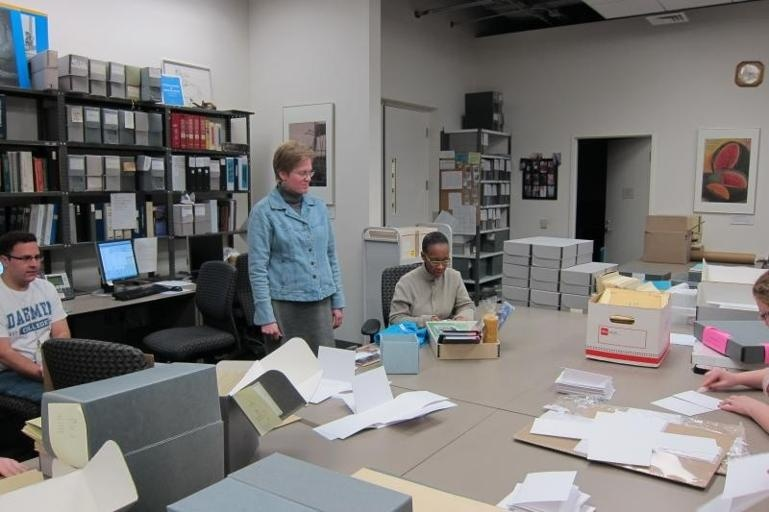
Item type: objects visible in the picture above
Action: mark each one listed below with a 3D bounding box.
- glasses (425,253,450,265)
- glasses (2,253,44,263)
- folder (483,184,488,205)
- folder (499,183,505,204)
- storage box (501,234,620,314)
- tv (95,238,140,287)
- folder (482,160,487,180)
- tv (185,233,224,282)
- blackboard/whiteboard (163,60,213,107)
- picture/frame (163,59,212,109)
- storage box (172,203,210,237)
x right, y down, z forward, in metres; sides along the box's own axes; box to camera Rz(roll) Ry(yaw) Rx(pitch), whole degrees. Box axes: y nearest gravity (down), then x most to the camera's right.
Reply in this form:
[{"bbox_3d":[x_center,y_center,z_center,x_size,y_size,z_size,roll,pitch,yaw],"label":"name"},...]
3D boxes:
[{"bbox_3d":[0.322,0.014,3.270,0.154,0.069,0.141,0,9,6],"label":"glasses"},{"bbox_3d":[-2.267,0.010,3.201,0.201,0.048,0.083,-4,10,-20],"label":"glasses"},{"bbox_3d":[1.398,-0.885,7.218,0.092,0.268,0.281,1,4,11],"label":"folder"},{"bbox_3d":[1.732,-0.944,7.665,0.044,0.400,0.307,1,3,25],"label":"folder"},{"bbox_3d":[1.419,0.057,4.414,0.695,0.434,0.698,5,10,34],"label":"storage box"},{"bbox_3d":[-2.310,0.038,4.493,0.043,0.344,0.406,-7,4,13],"label":"tv"},{"bbox_3d":[1.417,-1.222,7.253,0.031,0.270,0.253,4,11,31],"label":"folder"},{"bbox_3d":[-1.783,-0.037,5.111,0.112,0.376,0.524,2,6,19],"label":"tv"},{"bbox_3d":[-1.947,-1.704,5.080,0.043,0.484,0.663,-6,-3,32],"label":"blackboard/whiteboard"},{"bbox_3d":[-1.947,-1.695,5.072,0.044,0.495,0.670,-6,-2,31],"label":"picture/frame"},{"bbox_3d":[-1.844,-0.340,5.055,0.285,0.379,0.396,1,3,29],"label":"storage box"}]
